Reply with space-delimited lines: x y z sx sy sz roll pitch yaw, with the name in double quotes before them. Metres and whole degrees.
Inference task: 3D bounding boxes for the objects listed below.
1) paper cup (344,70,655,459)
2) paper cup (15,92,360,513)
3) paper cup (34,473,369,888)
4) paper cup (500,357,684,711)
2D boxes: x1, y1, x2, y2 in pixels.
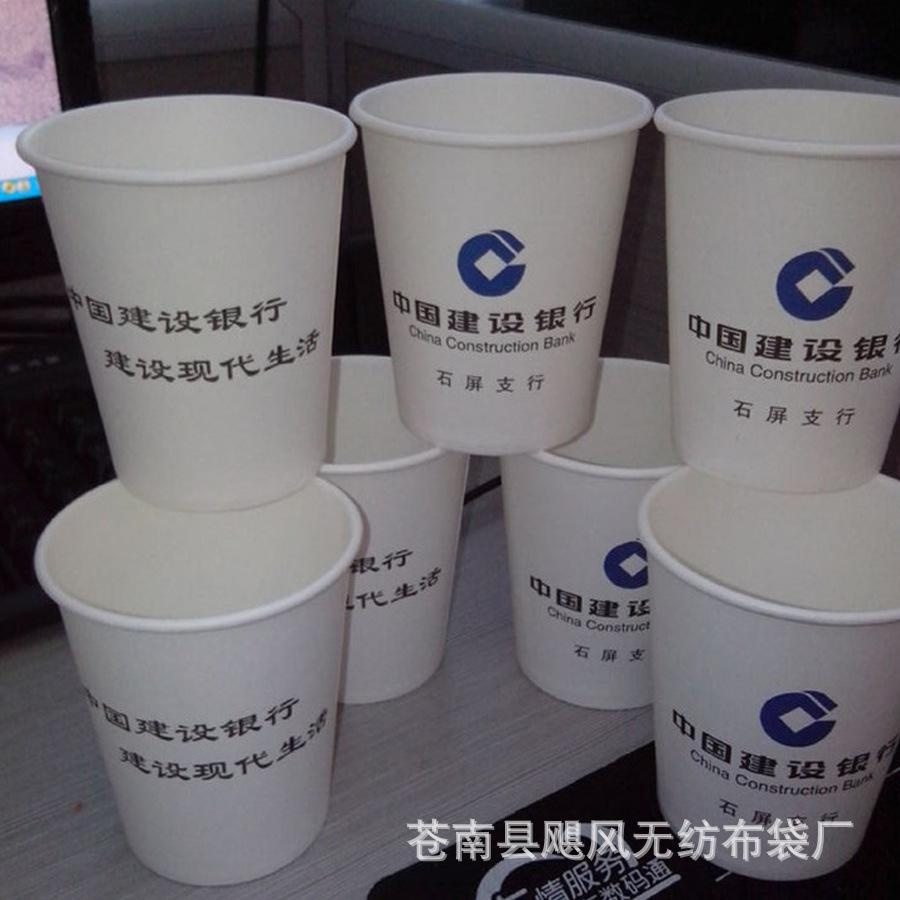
"paper cup" 0.034 -0.194 0.817 0.241 0.326 0.285 11 34 18
"paper cup" -0.192 -0.134 0.786 0.266 0.341 0.317 -10 36 -18
"paper cup" -0.197 0.180 0.770 0.237 0.326 0.263 12 26 13
"paper cup" 0.148 0.097 0.952 0.200 0.302 0.226 8 25 20
